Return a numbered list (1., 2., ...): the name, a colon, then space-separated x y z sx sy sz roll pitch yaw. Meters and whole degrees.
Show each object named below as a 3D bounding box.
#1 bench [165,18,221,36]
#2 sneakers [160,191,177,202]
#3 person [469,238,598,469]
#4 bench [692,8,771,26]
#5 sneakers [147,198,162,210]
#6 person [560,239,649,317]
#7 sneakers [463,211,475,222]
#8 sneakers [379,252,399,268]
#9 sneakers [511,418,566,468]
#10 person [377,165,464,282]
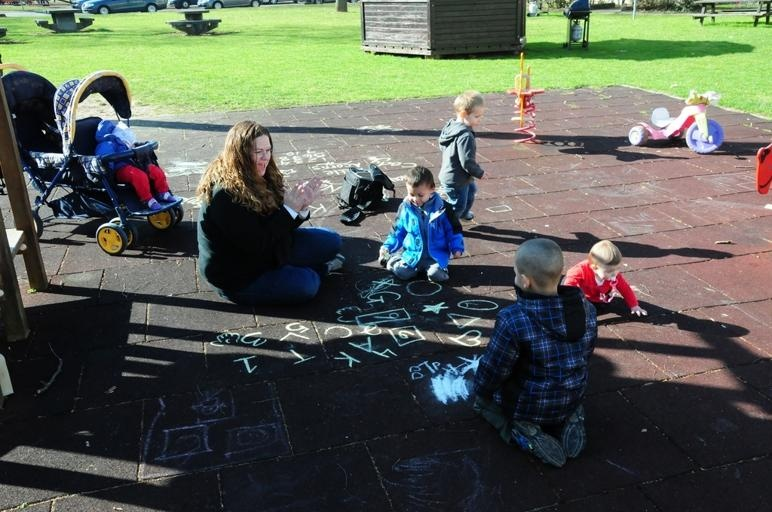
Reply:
1. bench: -8.816 -10.529 26.327 1.572 0.618 2.081 9 25 21
2. sneakers: -2.620 -0.698 6.772 0.272 0.094 0.081 -1 37 -9
3. person: 1.028 0.641 3.930 0.851 1.429 0.720 14 32 27
4. bench: 15.828 -11.179 26.400 2.837 0.824 9.665 10 25 23
5. sneakers: -2.612 -0.594 6.506 0.200 0.081 0.104 19 43 40
6. person: 1.811 0.217 5.100 0.844 0.568 0.697 -6 16 -36
7. sneakers: 1.001 -0.481 7.002 0.088 0.072 0.170 8 24 12
8. sneakers: 0.027 0.043 5.925 0.196 0.122 0.084 2 -9 41
9. sneakers: 1.026 1.281 3.943 0.378 0.196 0.161 30 13 24
10. person: 0.326 -0.312 5.690 0.845 1.098 0.493 0 28 4
